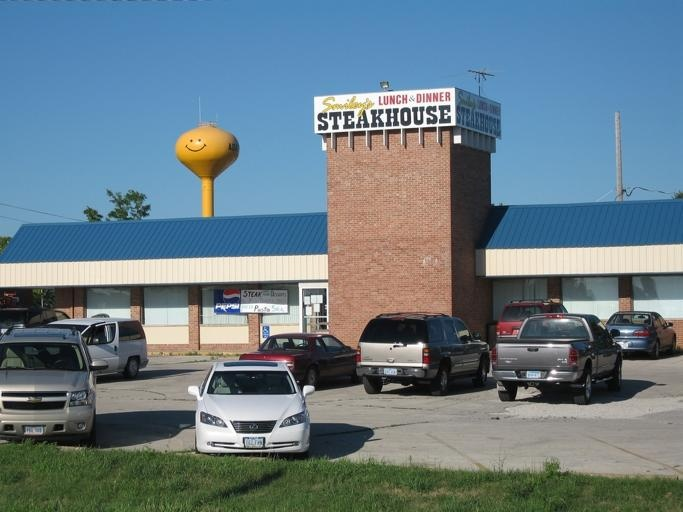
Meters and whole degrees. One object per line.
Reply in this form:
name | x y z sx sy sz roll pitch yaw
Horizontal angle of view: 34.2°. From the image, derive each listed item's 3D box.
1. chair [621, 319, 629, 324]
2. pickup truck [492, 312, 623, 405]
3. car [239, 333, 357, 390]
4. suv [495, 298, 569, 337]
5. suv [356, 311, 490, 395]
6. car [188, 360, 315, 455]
chair | 10.267 2.324 39.837 0.181 0.121 0.172 1 -7 -27
pickup truck | 5.812 2.660 29.028 2.148 2.320 3.602 -5 -6 45
car | -1.059 2.919 32.546 1.567 1.086 3.263 -1 1 30
suv | 6.413 2.248 38.339 1.357 1.104 2.380 0 7 23
suv | 2.522 2.562 31.361 1.881 1.416 3.457 0 3 29
car | -1.850 3.174 22.719 1.694 0.979 2.934 0 2 -3
